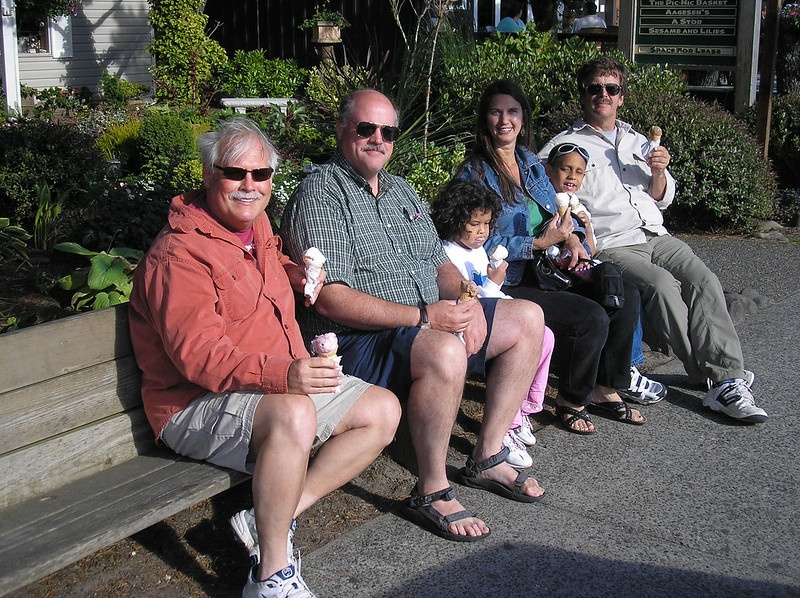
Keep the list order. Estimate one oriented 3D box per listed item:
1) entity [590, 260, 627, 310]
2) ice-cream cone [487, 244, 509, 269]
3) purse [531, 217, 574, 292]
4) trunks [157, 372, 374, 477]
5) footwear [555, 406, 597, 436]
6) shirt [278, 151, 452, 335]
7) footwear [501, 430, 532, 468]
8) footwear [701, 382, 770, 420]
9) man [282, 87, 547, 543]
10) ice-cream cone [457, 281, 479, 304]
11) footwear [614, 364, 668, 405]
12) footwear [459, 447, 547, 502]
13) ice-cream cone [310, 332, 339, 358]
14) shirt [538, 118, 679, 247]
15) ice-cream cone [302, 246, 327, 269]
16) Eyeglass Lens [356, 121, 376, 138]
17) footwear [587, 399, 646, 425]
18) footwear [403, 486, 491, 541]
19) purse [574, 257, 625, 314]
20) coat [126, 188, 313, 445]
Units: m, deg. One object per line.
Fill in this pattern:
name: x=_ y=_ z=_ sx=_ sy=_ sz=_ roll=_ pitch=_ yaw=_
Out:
entity: x=1.349 y=-0.089 z=3.576 sx=0.181 sy=0.299 sz=0.145 roll=3 pitch=-8 yaw=-22
ice-cream cone: x=0.592 y=-0.243 z=3.317 sx=0.126 sy=0.121 sz=0.130 roll=-12 pitch=-13 yaw=24
purse: x=1.020 y=-0.294 z=3.663 sx=0.165 sy=0.438 sz=0.337 roll=-4 pitch=-25 yaw=33
trunks: x=-0.600 y=0.589 z=2.581 sx=1.081 sy=0.327 sz=0.996 roll=-1 pitch=-4 yaw=11
footwear: x=1.143 y=0.777 z=3.578 sx=0.257 sy=0.148 sz=0.155 roll=6 pitch=16 yaw=16
shirt: x=-0.173 y=-0.370 z=3.265 sx=0.605 sy=0.971 sz=1.183 roll=-12 pitch=0 yaw=39
footwear: x=0.657 y=0.911 z=3.181 sx=0.107 sy=0.117 sz=0.294 roll=7 pitch=-12 yaw=-21
footwear: x=2.217 y=0.680 z=3.640 sx=0.230 sy=0.222 sz=0.303 roll=-1 pitch=16 yaw=-8
man: x=0.161 y=-0.001 z=3.029 sx=1.228 sy=2.209 sz=1.408 roll=-9 pitch=12 yaw=-30
ice-cream cone: x=0.360 y=-0.032 z=2.918 sx=0.105 sy=0.162 sz=0.122 roll=0 pitch=-1 yaw=9
footwear: x=1.620 y=0.601 z=3.922 sx=0.492 sy=0.243 sz=0.187 roll=5 pitch=26 yaw=17
footwear: x=0.514 y=0.881 z=3.009 sx=0.507 sy=0.262 sz=0.190 roll=10 pitch=27 yaw=23
ice-cream cone: x=-0.310 y=0.190 z=2.333 sx=0.103 sy=0.107 sz=0.100 roll=-9 pitch=0 yaw=22
shirt: x=1.647 y=-0.911 z=4.610 sx=1.290 sy=1.275 sz=0.917 roll=-5 pitch=5 yaw=-37
ice-cream cone: x=-0.425 y=-0.200 z=2.704 sx=0.083 sy=0.085 sz=0.107 roll=26 pitch=-14 yaw=-23
Eyeglass Lens: x=-0.192 y=-0.933 z=3.011 sx=0.083 sy=0.092 sz=0.039 roll=7 pitch=25 yaw=8
footwear: x=1.449 y=0.764 z=3.693 sx=0.324 sy=0.103 sz=0.145 roll=9 pitch=23 yaw=33
footwear: x=0.223 y=1.025 z=2.680 sx=0.389 sy=0.178 sz=0.193 roll=15 pitch=20 yaw=35
purse: x=1.364 y=-0.150 z=3.621 sx=0.320 sy=0.332 sz=0.205 roll=8 pitch=30 yaw=40
coat: x=-0.773 y=0.103 z=2.381 sx=0.583 sy=0.703 sz=1.104 roll=-2 pitch=12 yaw=13
